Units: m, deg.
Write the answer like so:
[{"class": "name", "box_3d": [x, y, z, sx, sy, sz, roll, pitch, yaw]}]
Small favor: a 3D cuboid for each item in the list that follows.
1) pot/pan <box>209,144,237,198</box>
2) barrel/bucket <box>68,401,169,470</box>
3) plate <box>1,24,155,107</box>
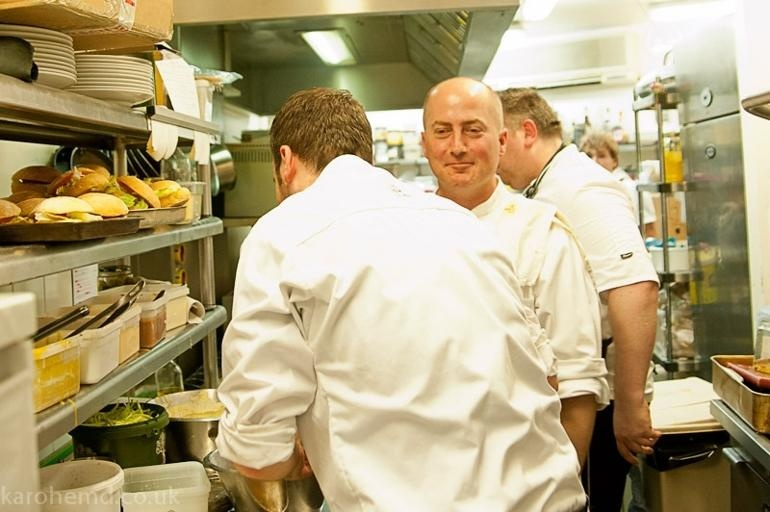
[{"class": "pot/pan", "box_3d": [-1.076, -0.573, 4.073, 0.124, 0.349, 0.290, -11, 15, -42]}, {"class": "barrel/bucket", "box_3d": [-0.972, 0.660, 2.301, 0.278, 0.208, 0.276, -1, -5, 0]}, {"class": "plate", "box_3d": [-0.974, -0.601, 1.983, 0.161, 0.164, 0.534, 1, 5, 22]}]
